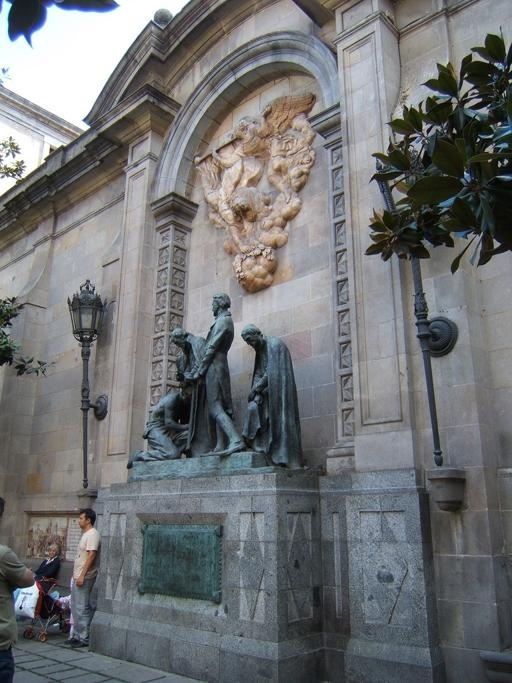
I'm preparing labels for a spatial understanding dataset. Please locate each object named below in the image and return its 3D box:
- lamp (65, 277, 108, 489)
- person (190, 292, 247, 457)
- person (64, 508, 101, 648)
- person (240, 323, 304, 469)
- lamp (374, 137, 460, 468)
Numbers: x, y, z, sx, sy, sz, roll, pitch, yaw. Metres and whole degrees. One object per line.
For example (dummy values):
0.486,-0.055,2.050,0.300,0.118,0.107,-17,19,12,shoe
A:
-3.789,0.733,11.190,0.954,4.932,1.244,7,-20,-23,lamp
-0.599,0.473,7.495,0.691,2.510,1.073,1,-19,-8,person
-2.595,3.591,7.683,0.378,1.938,0.564,5,-19,-18,person
0.263,0.792,7.129,1.015,2.460,1.021,4,-27,-3,person
1.834,-0.517,5.788,0.691,3.822,0.446,11,-22,-32,lamp
